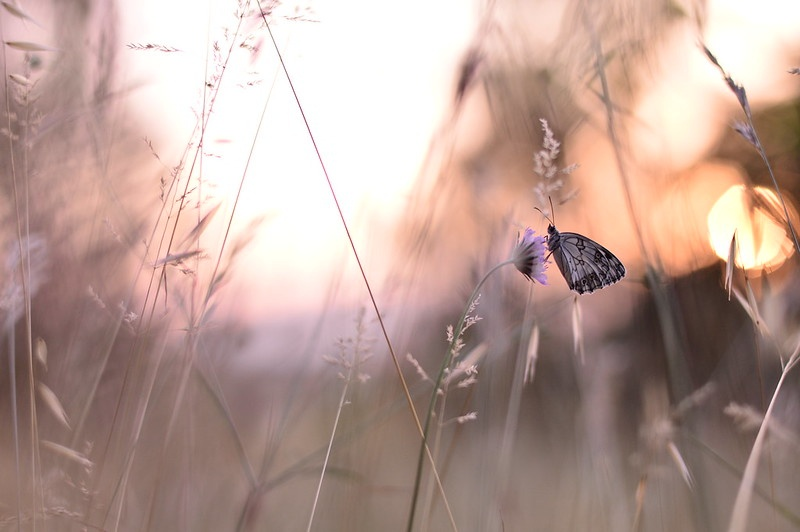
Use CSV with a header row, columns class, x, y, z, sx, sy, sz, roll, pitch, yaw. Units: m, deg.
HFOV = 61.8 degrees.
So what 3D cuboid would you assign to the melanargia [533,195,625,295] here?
class,x,y,z,sx,sy,sz,roll,pitch,yaw
melanargia,0.350,-0.028,1.305,0.171,0.121,0.095,6,-53,-4
